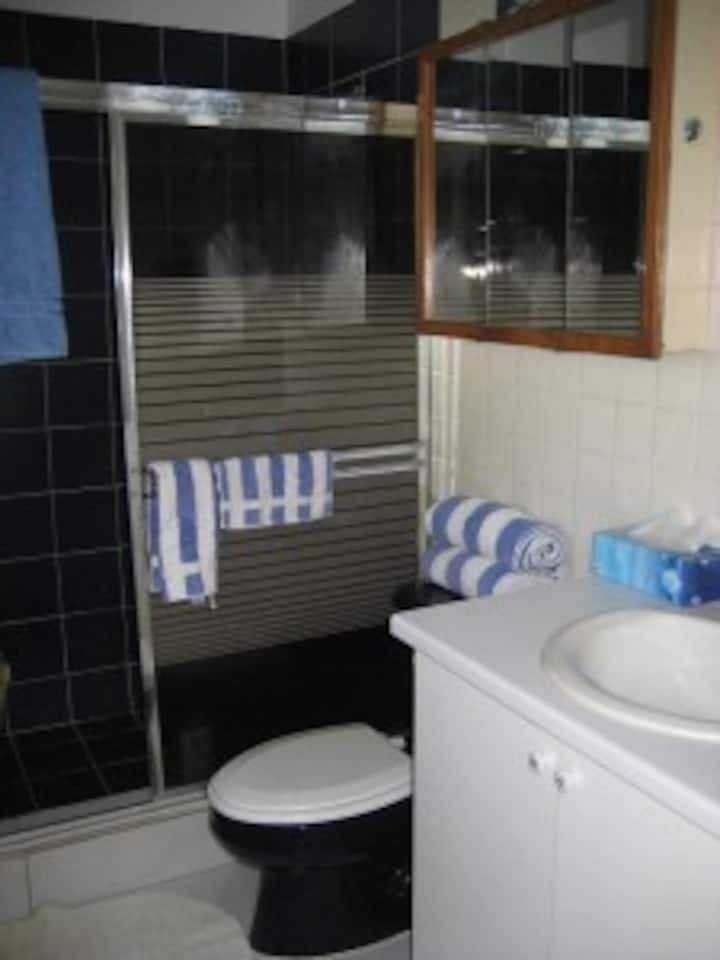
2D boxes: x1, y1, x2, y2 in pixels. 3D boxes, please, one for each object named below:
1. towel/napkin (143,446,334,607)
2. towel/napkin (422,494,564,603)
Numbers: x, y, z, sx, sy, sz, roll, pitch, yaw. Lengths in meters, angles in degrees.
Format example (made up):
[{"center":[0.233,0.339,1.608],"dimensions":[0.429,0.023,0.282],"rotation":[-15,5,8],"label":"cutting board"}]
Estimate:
[{"center":[-0.283,0.093,1.662],"dimensions":[0.298,0.269,0.053],"rotation":[-7,11,-34],"label":"towel/napkin"},{"center":[0.260,0.149,1.587],"dimensions":[0.152,0.190,0.374],"rotation":[-4,9,-26],"label":"towel/napkin"}]
